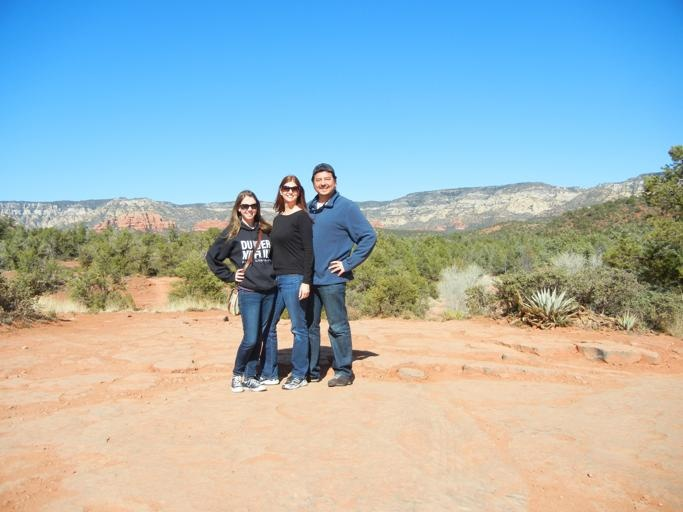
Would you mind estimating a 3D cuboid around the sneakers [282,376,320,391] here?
[{"bbox_3d":[-0.528,1.780,6.405,0.550,0.217,0.181,10,-13,-36],"label":"sneakers"}]

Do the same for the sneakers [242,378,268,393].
[{"bbox_3d":[-1.173,1.764,6.201,0.329,0.154,0.132,1,4,5],"label":"sneakers"}]

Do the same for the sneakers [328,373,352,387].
[{"bbox_3d":[-0.006,1.751,6.403,0.291,0.115,0.151,5,-7,-23],"label":"sneakers"}]

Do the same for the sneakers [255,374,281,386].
[{"bbox_3d":[-1.017,1.749,6.419,0.300,0.137,0.110,-1,7,-3],"label":"sneakers"}]

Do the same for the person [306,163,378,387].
[{"bbox_3d":[-0.028,0.300,6.335,0.896,3.072,0.638,0,5,0],"label":"person"}]

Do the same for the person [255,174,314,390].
[{"bbox_3d":[-0.738,0.380,6.251,0.759,2.898,0.548,1,5,4],"label":"person"}]
